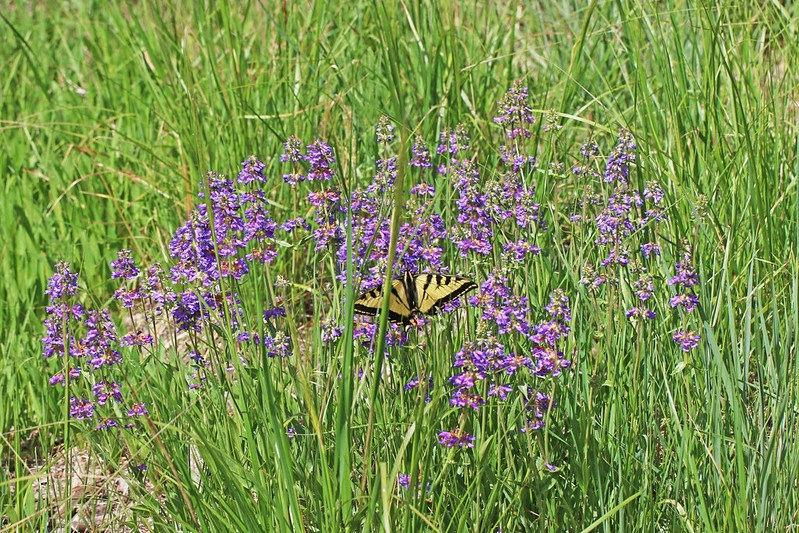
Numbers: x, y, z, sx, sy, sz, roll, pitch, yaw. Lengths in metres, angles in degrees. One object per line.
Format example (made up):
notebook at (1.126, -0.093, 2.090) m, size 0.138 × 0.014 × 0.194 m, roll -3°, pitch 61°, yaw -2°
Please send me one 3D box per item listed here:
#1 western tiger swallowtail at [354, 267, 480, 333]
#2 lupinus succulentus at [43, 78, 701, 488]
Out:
western tiger swallowtail at (0.097, 0.218, 6.791) m, size 0.771 × 0.353 × 0.264 m, roll -10°, pitch 37°, yaw 5°
lupinus succulentus at (-0.175, 0.002, 6.999) m, size 3.301 × 1.774 × 2.661 m, roll -7°, pitch 34°, yaw 3°
